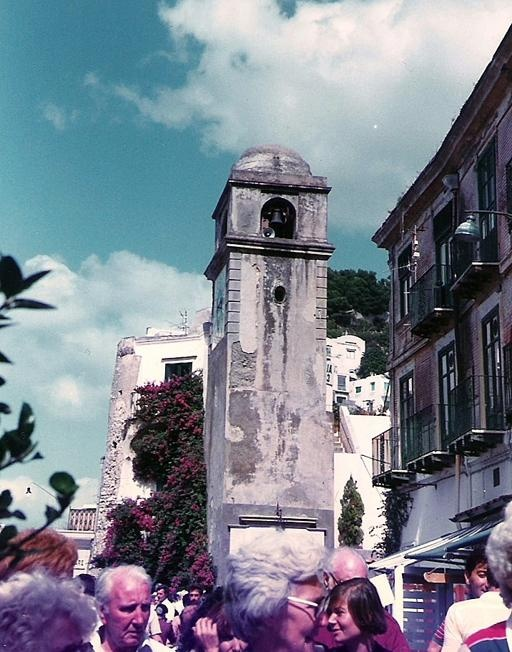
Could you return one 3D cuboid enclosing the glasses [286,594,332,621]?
[{"bbox_3d":[0.201,1.055,3.803,0.139,0.042,0.119,12,-17,-3],"label":"glasses"}]
